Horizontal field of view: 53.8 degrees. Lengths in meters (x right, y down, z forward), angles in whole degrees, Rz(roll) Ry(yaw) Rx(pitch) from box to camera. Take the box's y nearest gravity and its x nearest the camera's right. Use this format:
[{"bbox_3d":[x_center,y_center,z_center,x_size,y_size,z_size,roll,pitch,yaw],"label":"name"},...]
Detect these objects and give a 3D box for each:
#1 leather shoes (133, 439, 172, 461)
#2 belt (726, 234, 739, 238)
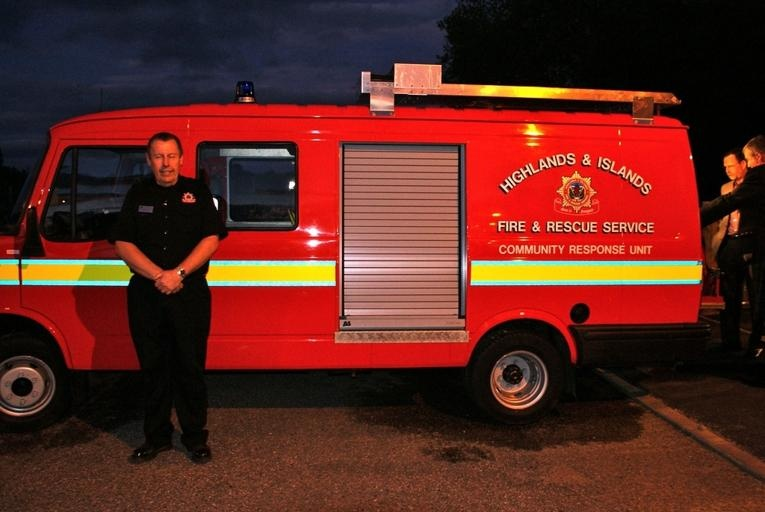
[{"bbox_3d":[-2.361,2.042,7.841,0.378,0.144,0.166,1,-1,-39],"label":"leather shoes"},{"bbox_3d":[4.599,-0.257,9.887,0.155,0.061,0.053,-2,-4,41],"label":"belt"}]
